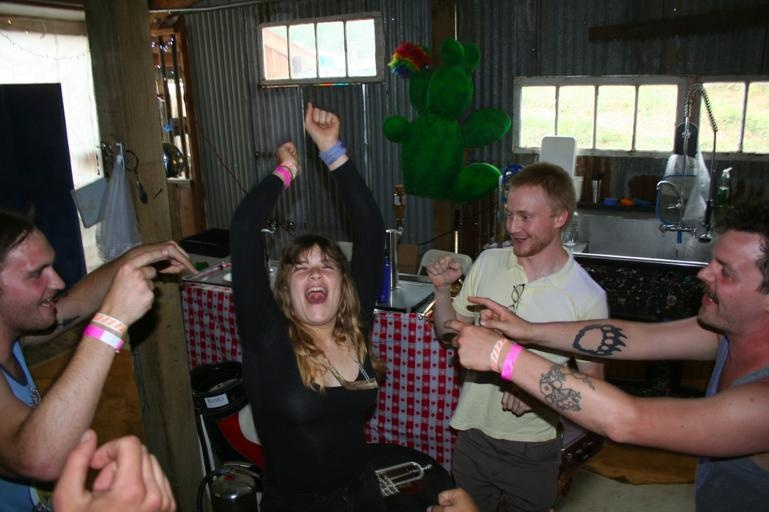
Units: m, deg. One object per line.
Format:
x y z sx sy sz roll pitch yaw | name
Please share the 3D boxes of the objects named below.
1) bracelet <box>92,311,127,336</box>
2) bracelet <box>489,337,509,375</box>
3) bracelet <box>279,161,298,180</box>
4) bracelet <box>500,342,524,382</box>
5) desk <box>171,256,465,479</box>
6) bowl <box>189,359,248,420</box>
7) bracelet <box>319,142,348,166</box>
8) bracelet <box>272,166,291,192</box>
-1.136 0.277 2.421 0.106 0.028 0.103 37 -19 -36 | bracelet
0.501 0.428 2.597 0.031 0.119 0.124 10 48 22 | bracelet
-0.504 -0.455 3.037 0.080 0.075 0.073 39 -26 -15 | bracelet
0.556 0.455 2.596 0.141 0.115 0.143 19 0 6 | bracelet
-0.083 0.886 5.011 1.670 1.310 1.705 2 5 20 | desk
-1.109 0.905 4.025 0.354 0.416 0.167 -10 51 -33 | bowl
-0.271 -0.542 3.093 0.120 0.076 0.135 -37 14 -2 | bracelet
-0.523 -0.409 3.043 0.104 0.106 0.104 6 6 -16 | bracelet
